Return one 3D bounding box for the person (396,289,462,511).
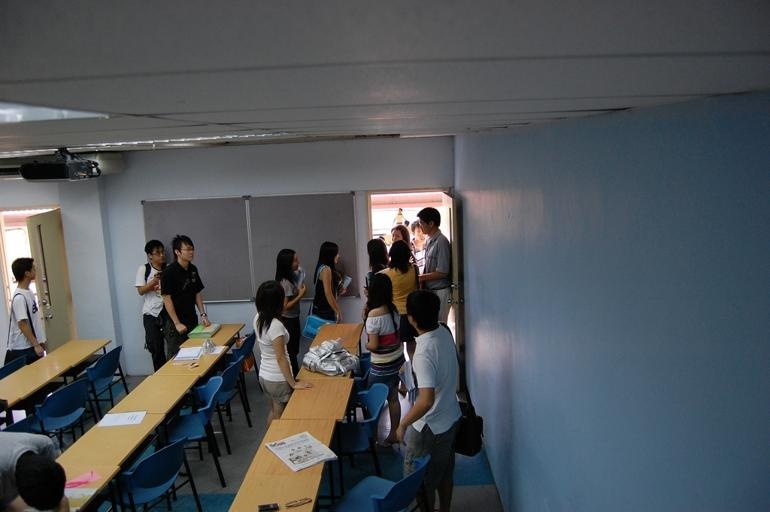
[{"bbox_3d":[0.308,1.130,3.886,0.468,1.800,0.575,-3,6,7],"label":"person"}]

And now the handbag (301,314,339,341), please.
[{"bbox_3d":[-0.779,0.870,6.506,0.419,0.400,0.178,5,6,-12],"label":"handbag"}]

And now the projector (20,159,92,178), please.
[{"bbox_3d":[-3.670,-0.933,5.954,0.476,0.146,0.353,-1,5,-1],"label":"projector"}]

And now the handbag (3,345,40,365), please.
[{"bbox_3d":[-4.245,1.175,6.319,0.194,0.266,0.150,-3,-25,-8],"label":"handbag"}]

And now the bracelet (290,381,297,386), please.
[{"bbox_3d":[-0.818,1.136,4.767,0.055,0.018,0.075,1,6,-6],"label":"bracelet"}]

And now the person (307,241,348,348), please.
[{"bbox_3d":[-0.737,0.450,6.764,0.439,1.518,0.491,-8,48,-12],"label":"person"}]

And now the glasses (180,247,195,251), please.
[{"bbox_3d":[-2.374,-0.079,6.451,0.130,0.076,0.063,-9,7,-43],"label":"glasses"}]
